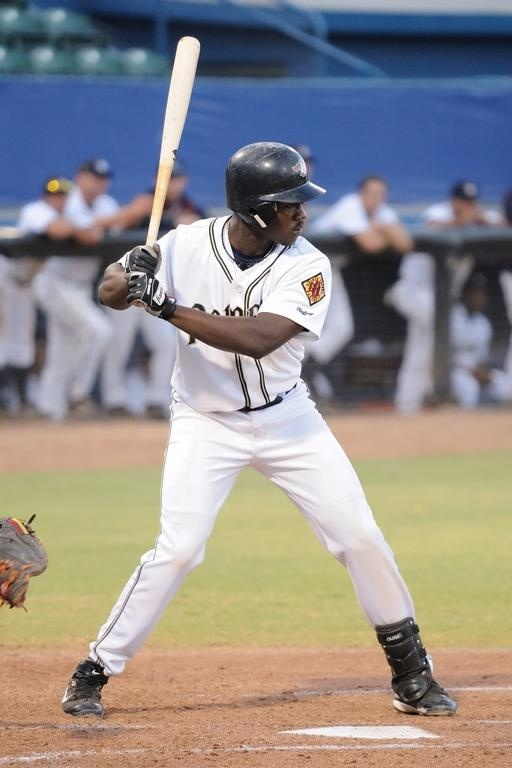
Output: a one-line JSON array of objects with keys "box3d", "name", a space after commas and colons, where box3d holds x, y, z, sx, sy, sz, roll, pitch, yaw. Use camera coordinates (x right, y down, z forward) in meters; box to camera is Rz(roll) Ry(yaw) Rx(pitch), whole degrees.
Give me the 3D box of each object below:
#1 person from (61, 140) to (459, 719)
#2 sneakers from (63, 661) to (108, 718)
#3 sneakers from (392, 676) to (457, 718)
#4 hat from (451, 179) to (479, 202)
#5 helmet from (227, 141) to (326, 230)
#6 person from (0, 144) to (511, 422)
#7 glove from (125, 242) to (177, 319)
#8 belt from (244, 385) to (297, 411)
[{"box3d": [0.004, 0.126, 2.767, 1.022, 1.607, 0.419, 2, 7, -1], "name": "person"}, {"box3d": [-0.461, 0.822, 2.668, 0.078, 0.080, 0.205, 14, -1, -11], "name": "sneakers"}, {"box3d": [0.449, 0.840, 2.679, 0.169, 0.067, 0.088, -6, -6, 42], "name": "sneakers"}, {"box3d": [1.816, -1.669, 8.606, 0.176, 0.174, 0.206, 2, -4, -5], "name": "hat"}, {"box3d": [0.025, -0.547, 2.711, 0.315, 0.210, 0.217, 2, 14, 23], "name": "helmet"}, {"box3d": [-0.020, -0.579, 6.526, 3.083, 1.390, 0.855, 3, 1, 6], "name": "person"}, {"box3d": [-0.282, -0.263, 2.607, 0.153, 0.073, 0.201, -17, 40, -12], "name": "glove"}, {"box3d": [0.034, 0.044, 2.805, 0.077, 0.023, 0.075, -17, 33, 9], "name": "belt"}]
